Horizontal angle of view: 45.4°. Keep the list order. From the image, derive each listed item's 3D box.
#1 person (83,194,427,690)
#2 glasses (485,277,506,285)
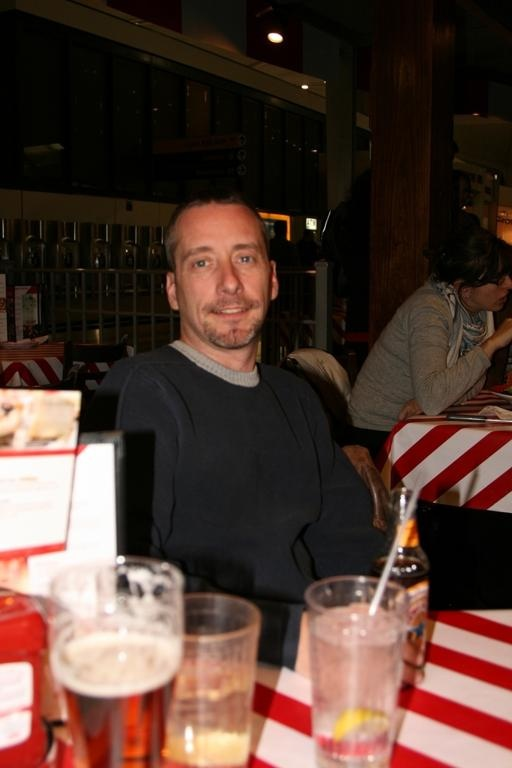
[{"bbox_3d":[0.108,0.160,1.568,0.683,1.164,0.671,8,-21,-36],"label":"person"},{"bbox_3d":[1.059,-0.451,2.697,0.058,0.022,0.043,1,-12,-32],"label":"glasses"}]
